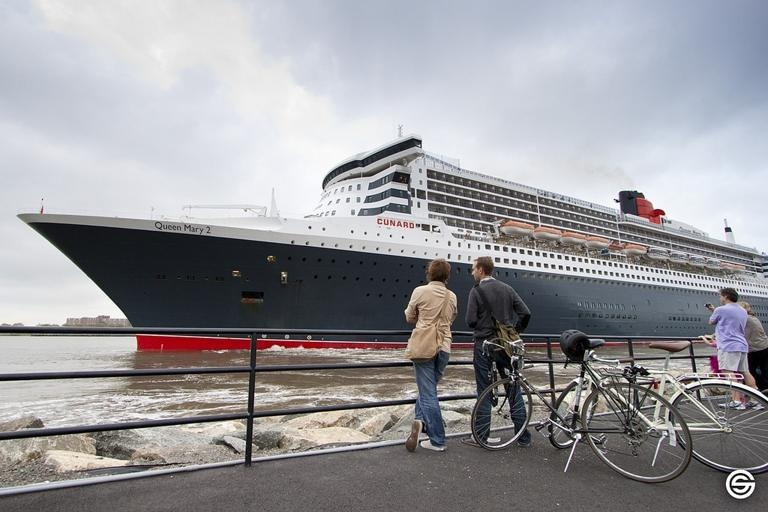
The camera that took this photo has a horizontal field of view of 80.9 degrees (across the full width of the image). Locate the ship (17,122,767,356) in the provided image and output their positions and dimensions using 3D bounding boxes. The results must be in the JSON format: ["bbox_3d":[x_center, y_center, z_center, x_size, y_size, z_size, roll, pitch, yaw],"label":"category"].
[{"bbox_3d":[3.935,-0.724,22.784,35.823,9.980,5.664,2,-9,-21],"label":"ship"}]

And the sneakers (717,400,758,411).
[{"bbox_3d":[3.525,1.464,4.514,0.308,0.128,0.105,0,-11,32],"label":"sneakers"}]

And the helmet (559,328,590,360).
[{"bbox_3d":[2.131,0.989,5.082,0.286,0.334,0.365,12,3,42],"label":"helmet"}]

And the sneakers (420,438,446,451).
[{"bbox_3d":[0.552,2.132,5.179,0.281,0.112,0.116,2,-7,28],"label":"sneakers"}]

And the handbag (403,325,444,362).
[{"bbox_3d":[0.465,1.003,5.141,0.449,0.454,0.236,-14,-36,41],"label":"handbag"}]

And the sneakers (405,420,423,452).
[{"bbox_3d":[0.347,1.989,5.079,0.144,0.378,0.153,13,-5,24],"label":"sneakers"}]
